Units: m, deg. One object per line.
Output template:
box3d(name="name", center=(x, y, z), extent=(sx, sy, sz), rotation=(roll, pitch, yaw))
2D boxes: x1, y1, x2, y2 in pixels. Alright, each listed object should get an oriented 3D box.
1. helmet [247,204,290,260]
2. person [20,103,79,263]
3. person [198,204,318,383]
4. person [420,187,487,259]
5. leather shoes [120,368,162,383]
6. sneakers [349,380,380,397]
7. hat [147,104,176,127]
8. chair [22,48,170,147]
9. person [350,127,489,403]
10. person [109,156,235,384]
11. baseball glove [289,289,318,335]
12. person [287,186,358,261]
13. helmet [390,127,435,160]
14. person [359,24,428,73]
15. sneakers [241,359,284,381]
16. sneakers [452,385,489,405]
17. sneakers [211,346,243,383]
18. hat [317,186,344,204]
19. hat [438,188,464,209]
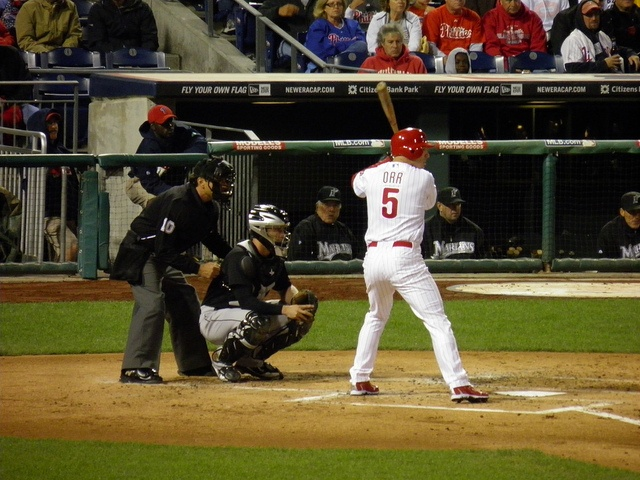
box3d(name="helmet", center=(-0.489, -0.111, 11.224), extent=(0.437, 0.471, 0.387), rotation=(7, 6, 18))
box3d(name="person", center=(-3.616, -0.710, 16.276), extent=(0.714, 2.318, 0.644), rotation=(-8, 18, -32))
box3d(name="person", center=(-0.565, 0.564, 11.416), extent=(1.228, 1.737, 1.186), rotation=(6, 4, 24))
box3d(name="person", center=(1.924, -0.148, 16.352), extent=(1.065, 1.040, 0.637), rotation=(2, -1, -9))
box3d(name="leather shoes", center=(-1.767, 1.358, 11.177), extent=(0.368, 0.162, 0.161), rotation=(-1, -2, 4))
box3d(name="sneakers", center=(0.426, 1.436, 10.844), extent=(0.316, 0.146, 0.111), rotation=(0, 7, -22))
box3d(name="hat", center=(-2.127, -1.663, 14.999), extent=(0.310, 0.165, 0.237), rotation=(-2, 13, 37))
box3d(name="chair", center=(-3.516, -2.177, 17.501), extent=(1.855, 1.254, 0.645), rotation=(-2, 6, -23))
box3d(name="person", center=(0.850, 0.254, 10.711), extent=(1.255, 2.598, 0.673), rotation=(4, 10, 20))
box3d(name="person", center=(-1.459, 0.327, 11.226), extent=(1.192, 2.271, 0.631), rotation=(-2, 10, -12))
box3d(name="baseball glove", center=(-0.158, 0.730, 11.376), extent=(0.277, 0.442, 0.280), rotation=(14, -1, -9))
box3d(name="person", center=(0.149, -0.143, 16.308), extent=(1.242, 1.220, 0.696), rotation=(1, -3, -40))
box3d(name="helmet", center=(0.882, -0.927, 10.809), extent=(0.421, 0.323, 0.311), rotation=(-1, 12, -9))
box3d(name="person", center=(1.161, -2.968, 17.790), extent=(1.173, 0.807, 0.561), rotation=(0, 3, -5))
box3d(name="sneakers", center=(-0.594, 1.343, 11.592), extent=(0.469, 0.203, 0.173), rotation=(7, 8, 1))
box3d(name="sneakers", center=(1.364, 1.438, 10.431), extent=(0.386, 0.187, 0.142), rotation=(-1, 1, -12))
box3d(name="sneakers", center=(-0.985, 1.273, 11.510), extent=(0.178, 0.221, 0.476), rotation=(-8, 23, -30))
box3d(name="hat", center=(0.136, -0.629, 15.635), extent=(0.311, 0.213, 0.250), rotation=(0, 10, -1))
box3d(name="hat", center=(1.796, -0.587, 15.708), extent=(0.282, 0.216, 0.386), rotation=(-3, 2, -37))
